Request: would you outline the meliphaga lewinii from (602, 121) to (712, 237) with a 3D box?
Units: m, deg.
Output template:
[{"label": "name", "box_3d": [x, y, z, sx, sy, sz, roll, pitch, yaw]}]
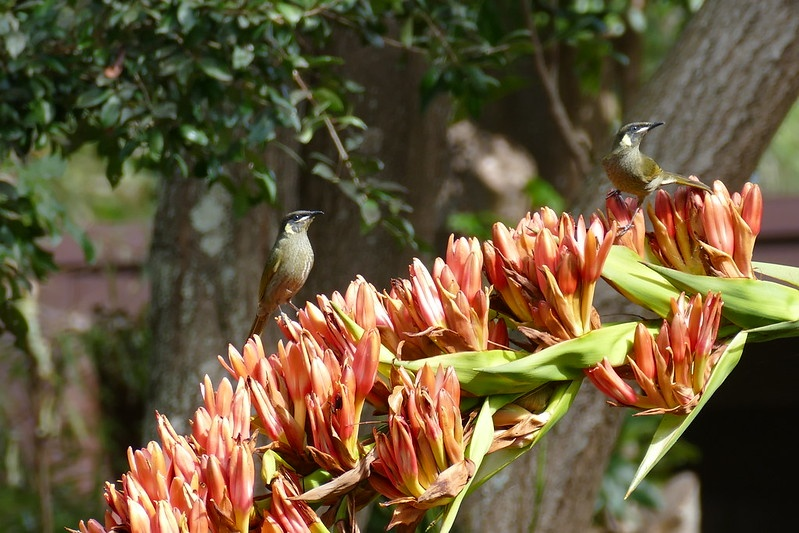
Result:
[{"label": "meliphaga lewinii", "box_3d": [0.654, -0.255, 2.947, 0.239, 0.233, 0.341, -30, 36, 21]}]

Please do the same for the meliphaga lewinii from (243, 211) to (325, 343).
[{"label": "meliphaga lewinii", "box_3d": [-0.309, -0.002, 3.024, 0.164, 0.383, 0.204, 8, 10, 39]}]
